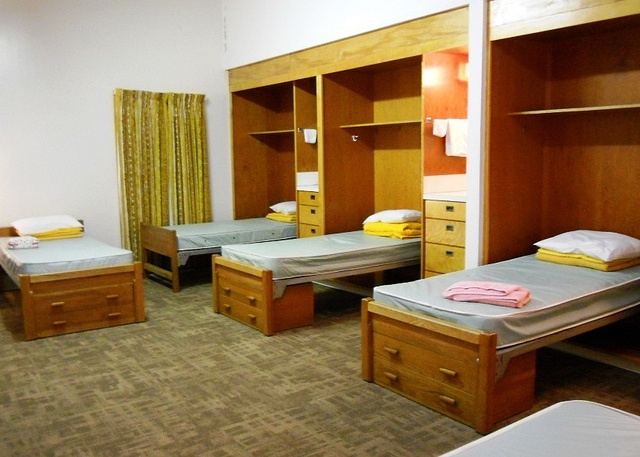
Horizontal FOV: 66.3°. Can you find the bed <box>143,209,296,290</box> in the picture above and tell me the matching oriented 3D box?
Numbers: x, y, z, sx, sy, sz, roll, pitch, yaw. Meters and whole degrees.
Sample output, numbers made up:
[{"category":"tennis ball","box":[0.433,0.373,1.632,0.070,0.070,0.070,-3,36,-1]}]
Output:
[{"category":"bed","box":[-1.226,0.224,6.364,1.623,0.512,0.924,-5,9,-35]}]

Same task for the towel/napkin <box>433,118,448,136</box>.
[{"category":"towel/napkin","box":[1.166,-0.977,4.729,0.177,0.153,0.061,0,6,-23]}]

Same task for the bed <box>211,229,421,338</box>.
[{"category":"bed","box":[-0.044,0.437,4.939,1.846,0.576,0.937,-5,8,-36]}]

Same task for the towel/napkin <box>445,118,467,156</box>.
[{"category":"towel/napkin","box":[1.325,-0.894,4.827,0.363,0.318,0.112,0,3,-30]}]

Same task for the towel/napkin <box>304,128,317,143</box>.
[{"category":"towel/napkin","box":[-0.113,-1.144,6.026,0.168,0.170,0.108,-1,15,3]}]
